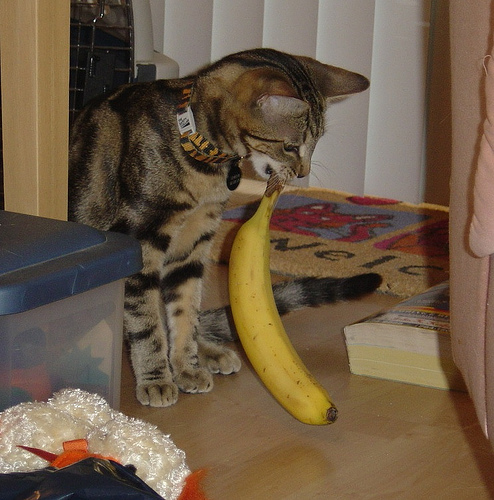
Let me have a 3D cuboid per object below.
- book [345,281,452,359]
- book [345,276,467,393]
[{"bbox_3d":[0.343,0.147,1.349,0.211,0.077,0.320,4,11,17],"label":"book"},{"bbox_3d":[0.364,0.159,1.326,0.237,0.067,0.295,5,18,26],"label":"book"}]
